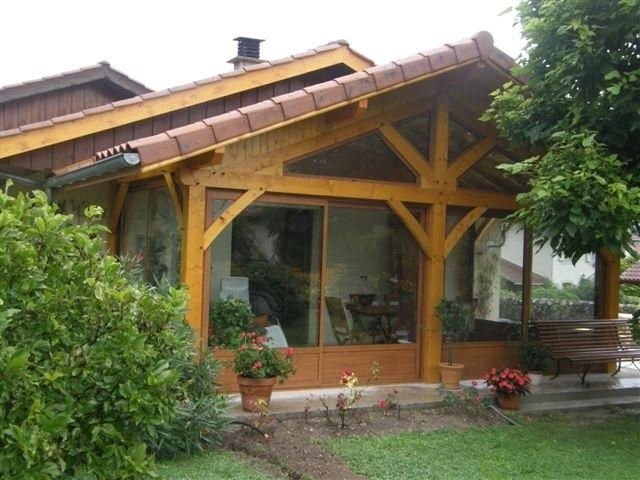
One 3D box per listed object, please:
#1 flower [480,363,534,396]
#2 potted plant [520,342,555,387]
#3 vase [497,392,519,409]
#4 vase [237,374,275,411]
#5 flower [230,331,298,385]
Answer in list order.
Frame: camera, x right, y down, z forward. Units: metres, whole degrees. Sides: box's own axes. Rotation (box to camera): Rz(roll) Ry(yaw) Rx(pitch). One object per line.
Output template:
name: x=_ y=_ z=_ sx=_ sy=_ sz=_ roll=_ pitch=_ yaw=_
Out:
flower: x=2.689 y=2.055 z=10.342 sx=0.494 sy=0.350 sz=0.533 roll=1 pitch=5 yaw=-9
potted plant: x=3.489 y=2.044 z=11.609 sx=0.638 sy=0.816 sz=0.583 roll=1 pitch=-5 yaw=-6
vase: x=2.753 y=2.343 z=10.286 sx=0.248 sy=0.212 sz=0.265 roll=-1 pitch=-2 yaw=5
vase: x=-0.868 y=2.015 z=9.497 sx=0.592 sy=0.500 sz=0.628 roll=8 pitch=-21 yaw=-21
flower: x=-0.583 y=1.646 z=9.532 sx=0.518 sy=0.385 sz=0.560 roll=-5 pitch=11 yaw=-4
